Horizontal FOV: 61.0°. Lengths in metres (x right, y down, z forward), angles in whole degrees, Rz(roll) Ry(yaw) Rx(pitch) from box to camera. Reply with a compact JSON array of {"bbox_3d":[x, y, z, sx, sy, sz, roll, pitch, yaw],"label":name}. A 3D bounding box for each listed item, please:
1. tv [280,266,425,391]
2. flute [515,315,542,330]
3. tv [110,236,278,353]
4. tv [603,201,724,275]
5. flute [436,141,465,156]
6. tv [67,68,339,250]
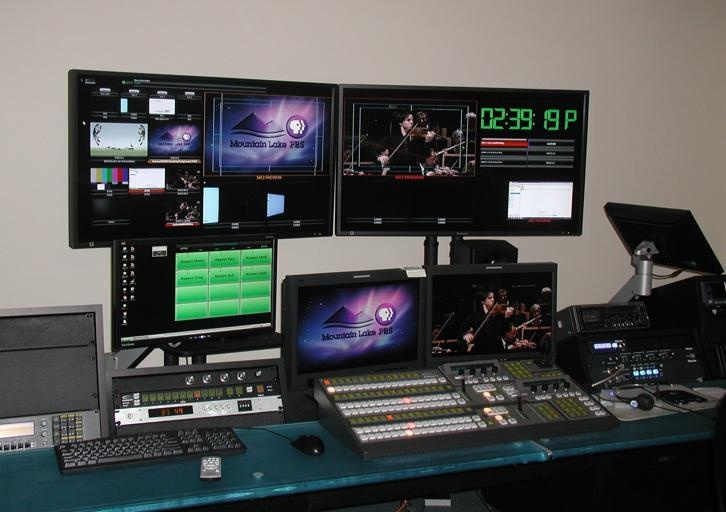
[{"bbox_3d":[-0.054,0.319,2.635,0.526,0.416,0.171,-3,3,-19],"label":"tv"},{"bbox_3d":[0.754,0.304,2.847,0.149,0.027,0.013,-23,19,-16],"label":"flute"},{"bbox_3d":[-0.734,0.154,2.596,0.522,0.295,0.056,-2,5,-28],"label":"tv"},{"bbox_3d":[1.545,-0.100,3.244,0.201,0.269,0.391,-36,32,-22],"label":"tv"},{"bbox_3d":[0.424,-0.538,3.051,0.123,0.024,0.023,-27,-4,-3],"label":"flute"},{"bbox_3d":[-0.758,-0.440,2.792,0.908,0.537,0.060,-1,6,-22],"label":"tv"}]
